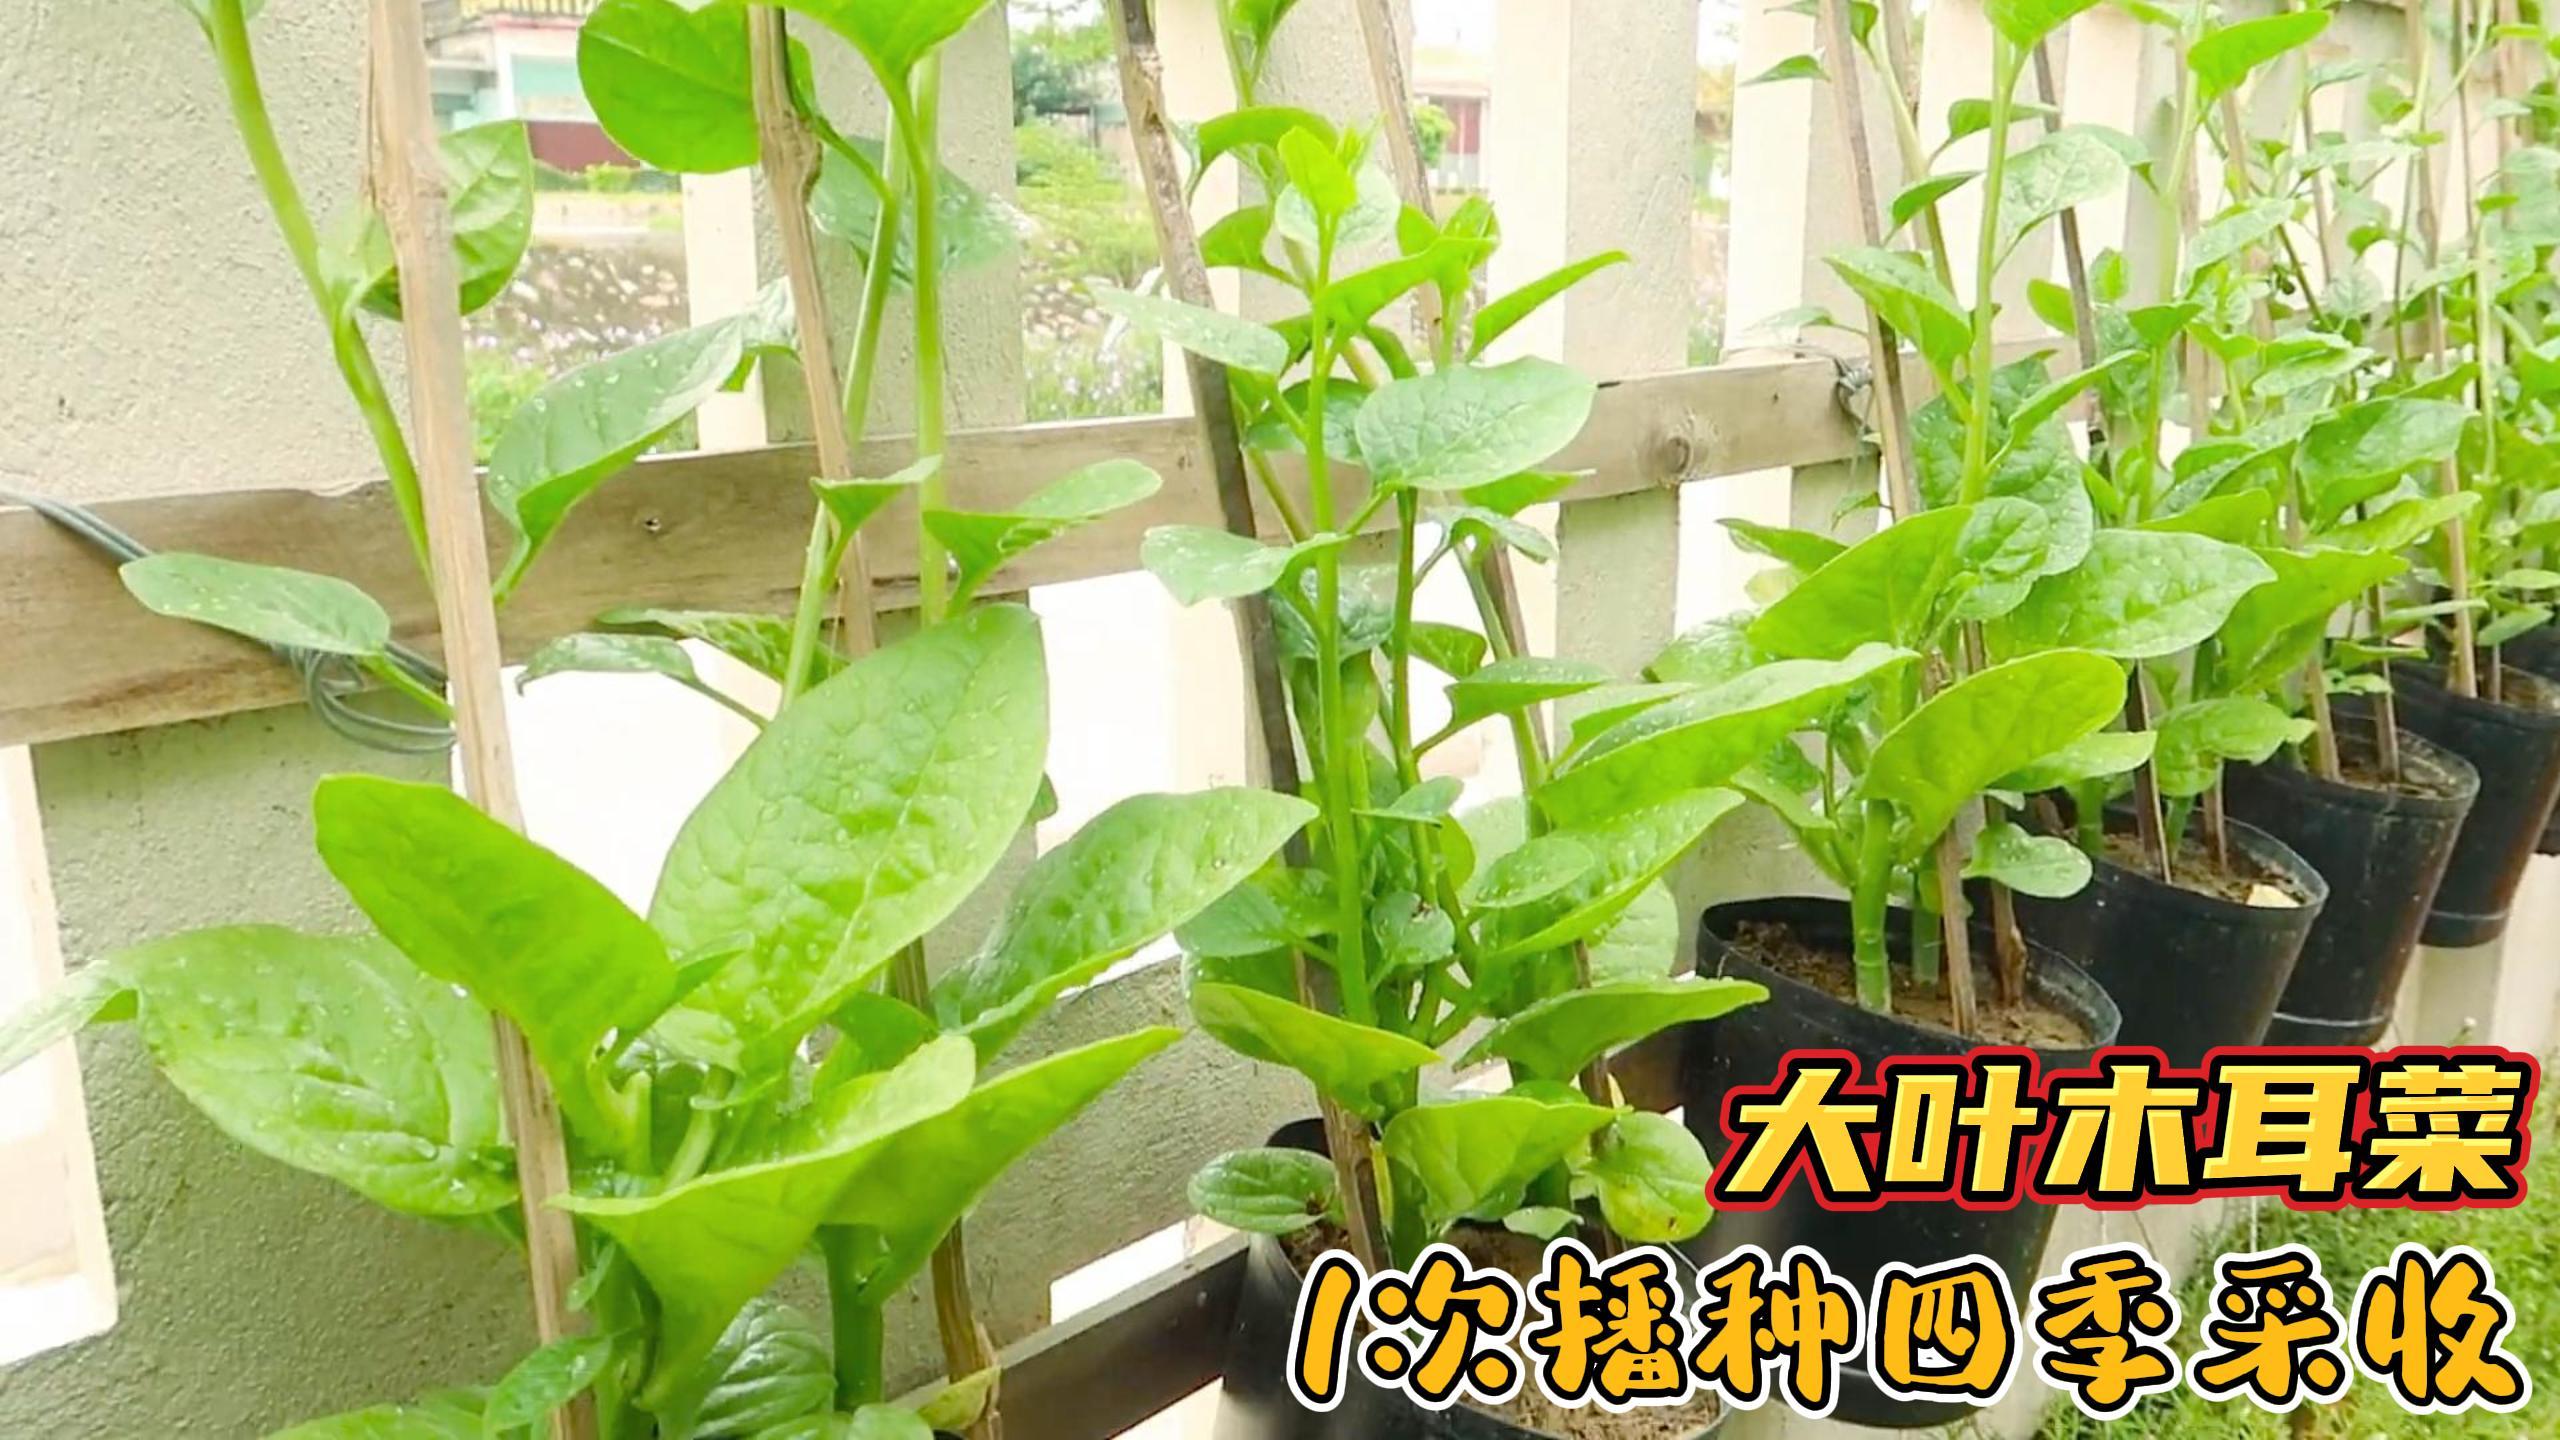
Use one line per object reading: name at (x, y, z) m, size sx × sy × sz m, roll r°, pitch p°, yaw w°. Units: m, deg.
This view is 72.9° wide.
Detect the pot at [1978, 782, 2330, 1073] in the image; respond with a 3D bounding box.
pot at (0.814, 0.185, 1.598) m, size 0.261 × 0.196 × 0.226 m, roll -4°, pitch 15°, yaw -10°

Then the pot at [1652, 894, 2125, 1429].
pot at (0.395, 0.345, 1.559) m, size 0.409 × 0.426 × 0.457 m, roll -2°, pitch 13°, yaw -9°
